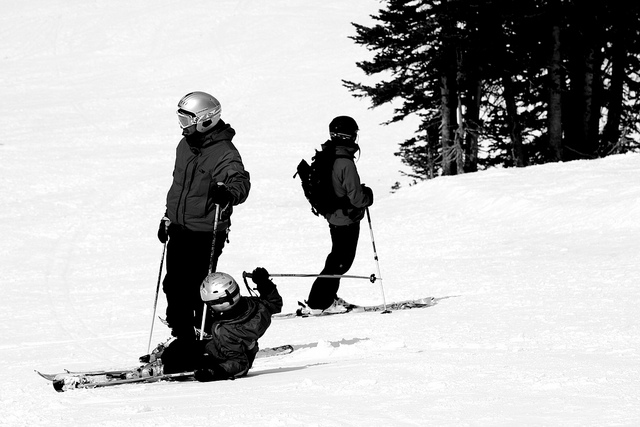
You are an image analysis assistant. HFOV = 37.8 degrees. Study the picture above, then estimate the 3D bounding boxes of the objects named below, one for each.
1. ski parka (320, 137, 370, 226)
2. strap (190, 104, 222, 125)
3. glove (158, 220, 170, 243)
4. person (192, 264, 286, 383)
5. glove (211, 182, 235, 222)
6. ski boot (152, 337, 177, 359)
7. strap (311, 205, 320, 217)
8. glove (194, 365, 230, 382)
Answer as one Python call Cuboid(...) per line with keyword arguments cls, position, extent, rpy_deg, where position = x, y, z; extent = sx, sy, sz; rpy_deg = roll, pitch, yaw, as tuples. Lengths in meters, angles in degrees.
Cuboid(cls="ski parka", position=(0.484, -0.637, 17.999), extent=(0.810, 1.702, 0.448), rpy_deg=(-5, -8, 17))
Cuboid(cls="strap", position=(-1.892, -1.637, 15.654), extent=(0.448, 0.181, 0.329), rpy_deg=(-16, 9, -15))
Cuboid(cls="glove", position=(-2.650, 0.306, 15.894), extent=(0.143, 0.312, 0.251), rpy_deg=(4, 4, 9))
Cuboid(cls="person", position=(-1.394, 1.811, 15.365), extent=(1.405, 1.818, 0.669), rpy_deg=(-2, -7, -6))
Cuboid(cls="glove", position=(-1.606, -0.220, 15.483), extent=(0.370, 0.597, 0.375), rpy_deg=(-1, -7, -10))
Cuboid(cls="ski boot", position=(-2.572, 2.296, 15.914), extent=(0.462, 0.155, 0.320), rpy_deg=(-33, 28, -13))
Cuboid(cls="strap", position=(-0.083, -0.025, 18.314), extent=(0.110, 0.135, 0.048), rpy_deg=(-3, 14, 36))
Cuboid(cls="glove", position=(-1.755, 2.575, 15.095), extent=(0.440, 0.129, 0.252), rpy_deg=(-1, 2, -16))
